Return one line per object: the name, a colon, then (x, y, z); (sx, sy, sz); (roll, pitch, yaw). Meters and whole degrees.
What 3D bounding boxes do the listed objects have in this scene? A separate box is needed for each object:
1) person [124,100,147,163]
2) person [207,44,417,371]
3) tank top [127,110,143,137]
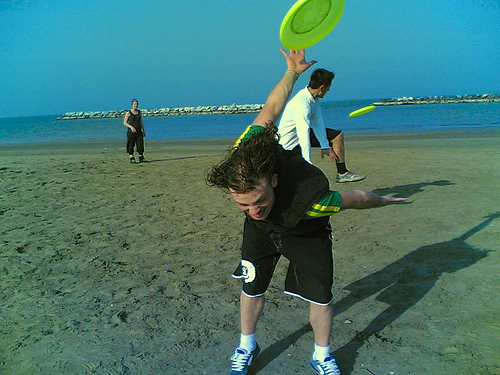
person: (-3.472, -1.709, 11.601); (0.567, 1.871, 0.808); (-6, 15, -14)
person: (0.301, 0.194, 2.910); (1.154, 2.536, 1.256); (4, 16, 24)
tank top: (-3.486, -1.957, 11.627); (0.529, 0.765, 0.403); (-9, 16, -27)
